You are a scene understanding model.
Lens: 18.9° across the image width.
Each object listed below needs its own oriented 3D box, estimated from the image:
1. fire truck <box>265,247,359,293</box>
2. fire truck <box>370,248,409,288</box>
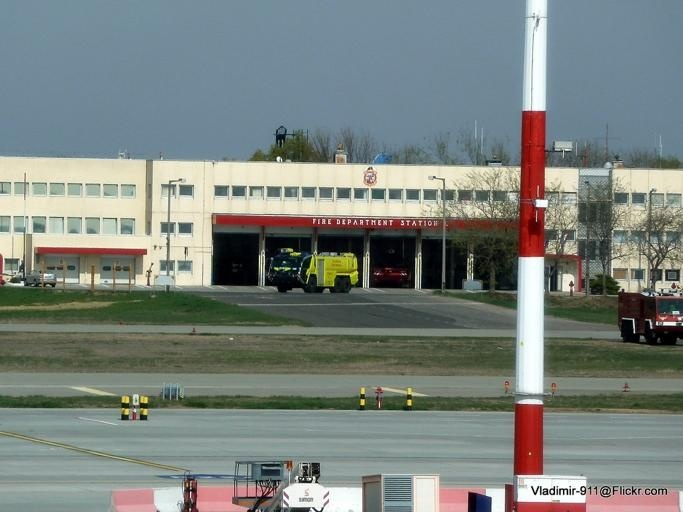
[{"bbox_3d":[-2.302,1.158,163.980,6.904,3.464,2.797,6,-12,-30],"label":"fire truck"},{"bbox_3d":[4.228,0.936,178.742,3.452,3.664,3.662,0,-11,0],"label":"fire truck"}]
